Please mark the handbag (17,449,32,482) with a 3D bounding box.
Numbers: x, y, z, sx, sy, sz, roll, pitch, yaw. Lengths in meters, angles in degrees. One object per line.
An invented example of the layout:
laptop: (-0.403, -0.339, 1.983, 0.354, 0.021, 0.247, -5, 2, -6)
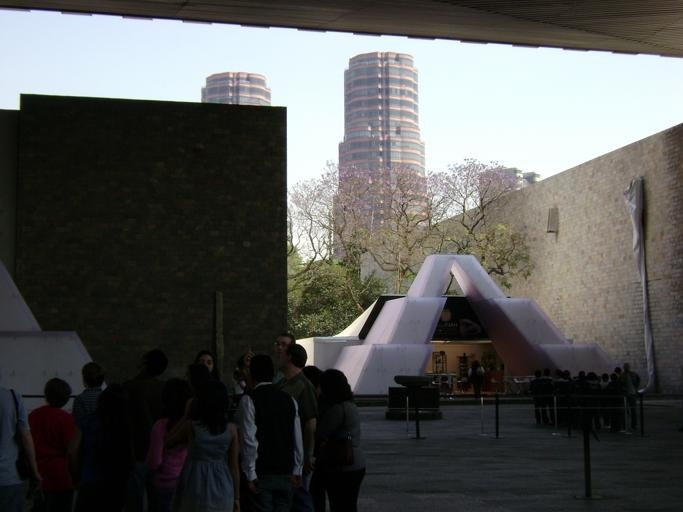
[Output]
handbag: (-4.142, 2.753, 11.989, 0.097, 0.335, 0.373, -11, -46, -19)
